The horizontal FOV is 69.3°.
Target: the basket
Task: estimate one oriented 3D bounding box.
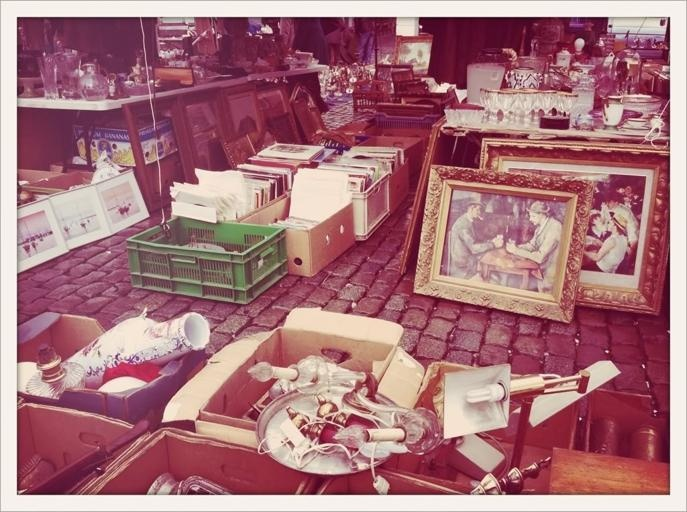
[{"bbox_3d":[-1.152,0.061,4.097,1.037,0.398,0.765,7,24,16],"label":"basket"}]

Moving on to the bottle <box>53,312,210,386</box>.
[{"bbox_3d":[-1.002,0.436,2.531,0.931,0.303,0.310,-17,-6,21],"label":"bottle"}]

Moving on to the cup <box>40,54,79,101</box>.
[{"bbox_3d":[-2.982,-1.921,5.416,0.492,0.495,0.484,3,25,-1],"label":"cup"}]

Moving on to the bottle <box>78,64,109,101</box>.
[{"bbox_3d":[-2.654,-1.819,5.187,0.329,0.352,0.219,11,26,26],"label":"bottle"}]

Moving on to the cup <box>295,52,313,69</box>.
[{"bbox_3d":[-0.724,-3.514,8.880,0.352,0.254,0.362,-1,11,0],"label":"cup"}]
